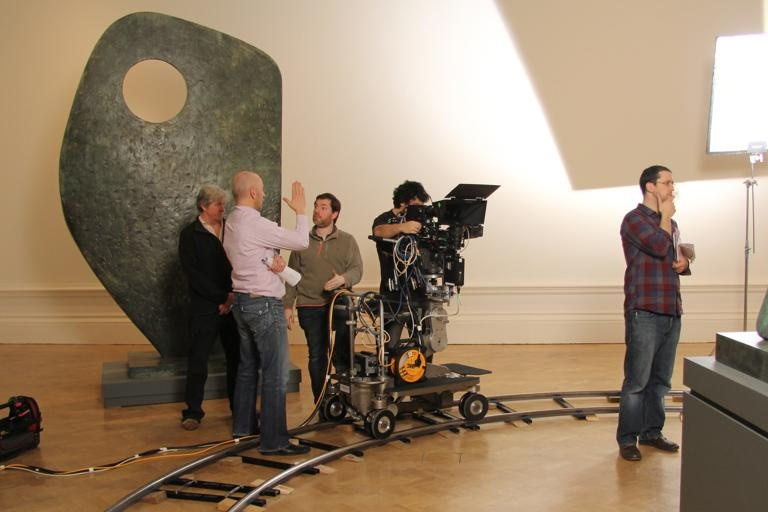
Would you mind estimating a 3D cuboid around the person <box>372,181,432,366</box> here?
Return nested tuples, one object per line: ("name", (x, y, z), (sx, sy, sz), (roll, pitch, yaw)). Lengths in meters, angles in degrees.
("person", (0.158, 0.133, 5.017), (0.514, 1.607, 0.683), (0, 2, 0))

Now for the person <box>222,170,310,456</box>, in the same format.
("person", (-0.954, 0.431, 4.411), (0.664, 2.183, 0.416), (2, 3, 37))

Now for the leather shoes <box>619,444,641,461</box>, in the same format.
("leather shoes", (1.895, 1.500, 4.371), (0.150, 0.111, 0.093), (1, 2, 21))

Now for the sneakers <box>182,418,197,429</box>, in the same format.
("sneakers", (-1.686, 1.442, 4.939), (0.137, 0.094, 0.071), (-1, 2, -18))

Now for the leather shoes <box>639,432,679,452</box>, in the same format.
("leather shoes", (2.188, 1.481, 4.565), (0.303, 0.116, 0.103), (1, 0, 31))

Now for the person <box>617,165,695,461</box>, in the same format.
("person", (2.069, 0.435, 4.409), (0.497, 2.232, 0.291), (-1, 3, -14))

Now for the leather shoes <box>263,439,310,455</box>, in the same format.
("leather shoes", (-0.751, 1.488, 4.393), (0.349, 0.141, 0.125), (-3, 0, -6))
